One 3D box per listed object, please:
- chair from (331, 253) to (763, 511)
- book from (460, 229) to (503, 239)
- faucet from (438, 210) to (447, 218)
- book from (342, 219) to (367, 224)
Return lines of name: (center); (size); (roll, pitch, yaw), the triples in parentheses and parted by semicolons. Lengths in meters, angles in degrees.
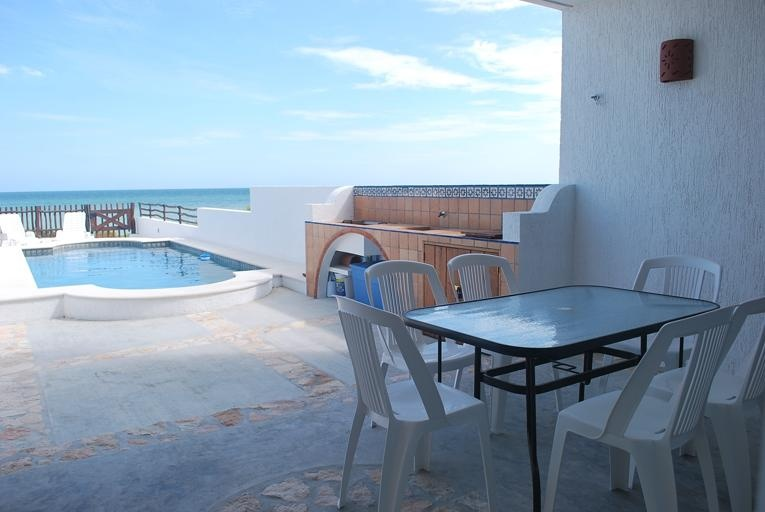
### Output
chair: (0.950, 0.750, 3.654); (1.773, 1.366, 1.611); (-6, 10, -28)
book: (1.168, -0.239, 5.928); (0.414, 0.047, 0.830); (0, 7, 8)
faucet: (0.850, -0.584, 7.133); (0.124, 0.085, 0.217); (-2, 0, 1)
book: (-0.483, -0.550, 8.284); (0.348, 0.021, 0.980); (-2, 7, -6)
